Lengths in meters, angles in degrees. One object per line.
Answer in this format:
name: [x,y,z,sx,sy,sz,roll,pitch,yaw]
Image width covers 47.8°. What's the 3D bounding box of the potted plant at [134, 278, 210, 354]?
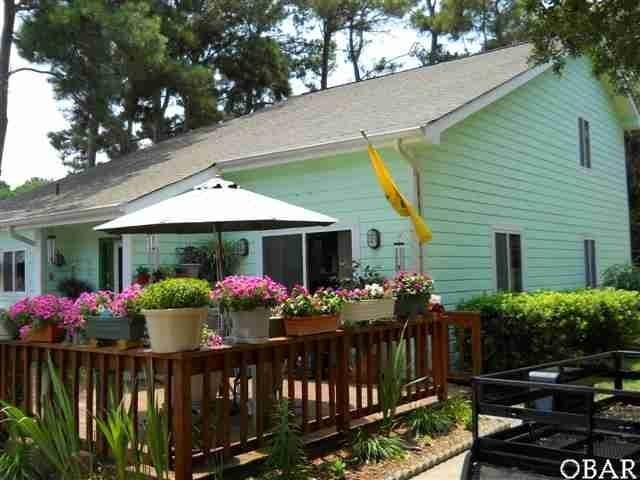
potted plant: [-1.556,0.850,7.862,0.833,0.909,0.706,6,-17,-33]
